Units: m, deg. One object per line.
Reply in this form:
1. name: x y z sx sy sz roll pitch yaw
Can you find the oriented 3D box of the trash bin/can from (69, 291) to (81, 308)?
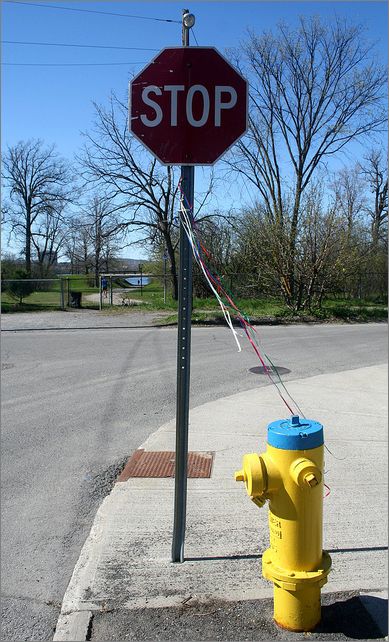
1. trash bin/can: -4.792 -0.839 22.848 0.604 0.628 0.476 0 5 16
